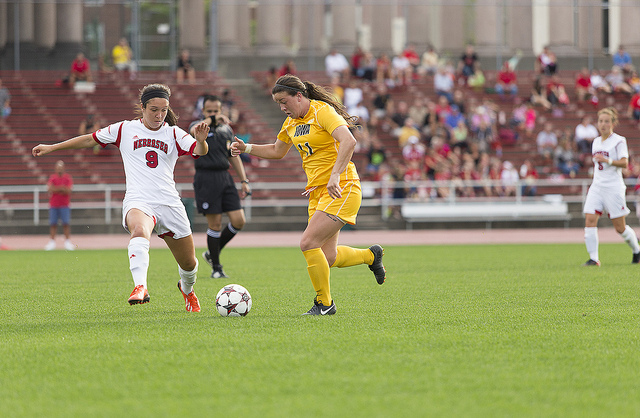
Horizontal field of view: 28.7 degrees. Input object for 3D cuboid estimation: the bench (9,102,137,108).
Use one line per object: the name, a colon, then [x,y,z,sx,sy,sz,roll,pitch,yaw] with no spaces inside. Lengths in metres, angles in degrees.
bench: [-9.952,-4.029,48.136,2.635,0.243,0.041,-1,-39,-9]

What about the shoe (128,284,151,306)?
shoe: [-4.226,1.884,28.373,0.294,0.441,0.530,3,15,21]

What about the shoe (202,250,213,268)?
shoe: [-2.998,1.218,32.253,0.191,0.444,0.681,-5,14,-10]

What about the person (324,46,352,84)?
person: [0.617,-5.433,48.277,0.817,1.495,0.608,-25,-20,29]

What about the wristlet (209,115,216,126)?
wristlet: [-2.837,-2.282,32.013,0.159,0.284,0.117,-6,15,-15]

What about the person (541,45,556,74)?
person: [7.332,-4.769,40.044,0.421,0.801,0.808,2,25,18]

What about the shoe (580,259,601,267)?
shoe: [7.139,1.364,32.930,0.555,0.211,0.192,2,-2,8]

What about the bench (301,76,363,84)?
bench: [0.311,-5.004,48.260,2.600,0.298,0.787,10,18,40]

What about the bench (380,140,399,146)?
bench: [2.481,-2.429,45.542,0.412,0.236,0.088,-3,-8,8]

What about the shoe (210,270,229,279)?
shoe: [-2.668,1.617,32.062,0.539,0.292,0.168,-1,-1,2]

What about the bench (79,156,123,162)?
bench: [-8.237,-1.852,45.720,1.559,0.206,0.061,-1,-20,-10]

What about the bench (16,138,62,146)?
bench: [-10.176,-2.385,44.042,1.328,0.283,0.183,-3,-25,-22]

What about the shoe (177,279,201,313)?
shoe: [-3.102,2.093,29.177,0.341,0.930,0.431,-25,9,-15]

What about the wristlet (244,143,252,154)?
wristlet: [-1.762,-1.444,29.336,0.185,0.200,0.154,-4,14,-7]
